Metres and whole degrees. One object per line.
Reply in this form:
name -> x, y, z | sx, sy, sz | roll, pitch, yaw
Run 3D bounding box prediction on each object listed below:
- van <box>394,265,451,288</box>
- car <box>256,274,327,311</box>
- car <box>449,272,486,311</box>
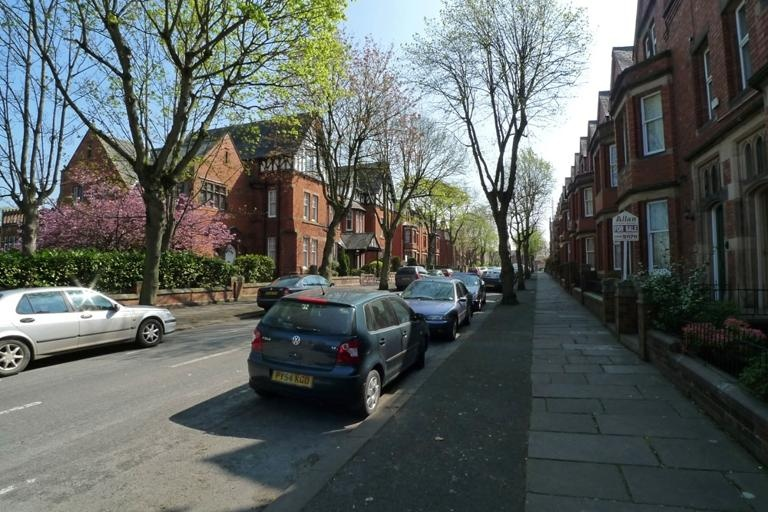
van -> 2.462, 1.216, 39.062 | 1.579, 1.373, 3.628 | 0, 5, 33
car -> -3.423, 1.753, 23.695 | 1.741, 1.449, 4.294 | 1, 3, 29
car -> 3.212, 1.319, 21.284 | 1.169, 0.925, 2.696 | -1, -7, 12
